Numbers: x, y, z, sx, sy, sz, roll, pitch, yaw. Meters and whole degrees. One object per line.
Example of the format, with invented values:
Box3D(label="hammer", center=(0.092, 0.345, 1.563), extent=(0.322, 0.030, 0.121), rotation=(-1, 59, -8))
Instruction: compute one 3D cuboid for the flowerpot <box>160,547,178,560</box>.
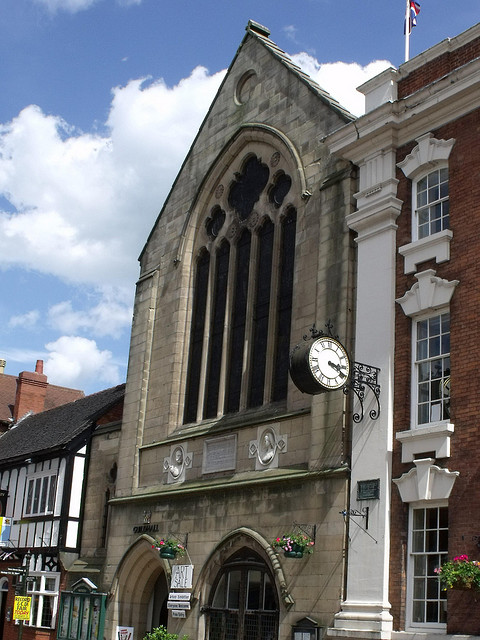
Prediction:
Box3D(label="flowerpot", center=(-1.624, 5.307, 20.670), extent=(0.405, 0.232, 0.301), rotation=(12, -21, -27))

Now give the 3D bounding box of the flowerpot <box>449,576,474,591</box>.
Box3D(label="flowerpot", center=(3.280, 3.834, 13.126), extent=(0.246, 0.149, 0.276), rotation=(16, -29, -30))

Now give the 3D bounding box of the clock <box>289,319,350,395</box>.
Box3D(label="clock", center=(1.515, 0.684, 16.479), extent=(1.221, 1.560, 0.566), rotation=(16, -27, -34))

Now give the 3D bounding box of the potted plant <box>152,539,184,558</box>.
Box3D(label="potted plant", center=(-1.603, 5.193, 20.604), extent=(0.433, 0.242, 0.439), rotation=(19, -24, -28))

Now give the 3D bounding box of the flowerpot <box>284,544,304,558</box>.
Box3D(label="flowerpot", center=(1.021, 4.202, 16.562), extent=(0.295, 0.211, 0.267), rotation=(3, -19, -13))

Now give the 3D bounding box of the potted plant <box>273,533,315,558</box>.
Box3D(label="potted plant", center=(1.048, 4.167, 16.697), extent=(0.695, 0.395, 0.512), rotation=(2, -19, 0))
